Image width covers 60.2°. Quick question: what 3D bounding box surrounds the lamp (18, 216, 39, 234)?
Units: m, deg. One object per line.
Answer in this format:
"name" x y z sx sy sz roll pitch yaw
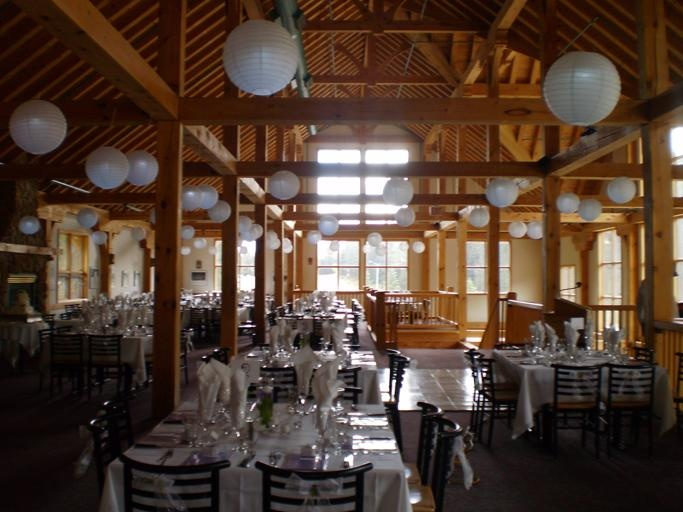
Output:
"lamp" -5.880 -0.590 11.217 0.405 0.281 0.419 -2 1 -1

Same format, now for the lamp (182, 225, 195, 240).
"lamp" -3.348 -0.557 12.941 0.224 0.260 0.469 3 -7 -18

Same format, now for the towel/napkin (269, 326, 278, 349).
"towel/napkin" -0.874 1.059 7.755 0.113 0.324 0.260 2 -7 -7

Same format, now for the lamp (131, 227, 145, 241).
"lamp" -4.631 -0.558 13.548 0.232 0.268 0.346 2 -7 -10

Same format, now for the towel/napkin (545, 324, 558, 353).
"towel/napkin" 2.822 1.111 7.967 0.140 0.378 0.451 -1 -7 17

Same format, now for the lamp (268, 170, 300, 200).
"lamp" -0.822 -0.990 8.471 0.444 0.459 0.461 -1 5 2

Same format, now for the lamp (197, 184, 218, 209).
"lamp" -1.992 -0.911 8.845 0.295 0.364 0.308 -1 4 6

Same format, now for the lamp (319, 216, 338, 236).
"lamp" -0.253 -0.645 12.517 0.383 0.262 0.381 0 -5 -30

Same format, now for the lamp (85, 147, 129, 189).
"lamp" -2.719 -1.008 6.934 0.448 0.552 0.470 -1 1 8

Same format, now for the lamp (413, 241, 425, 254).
"lamp" 2.110 -0.270 16.371 0.341 0.395 0.383 4 -1 17

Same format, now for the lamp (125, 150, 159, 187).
"lamp" -2.332 -1.058 7.146 0.377 0.468 0.393 -1 1 8

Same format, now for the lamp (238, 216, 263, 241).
"lamp" -1.751 -0.554 11.357 0.314 0.257 0.539 2 -12 -4

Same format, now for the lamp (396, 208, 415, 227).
"lamp" 1.329 -0.816 12.310 0.372 0.449 0.374 -2 4 -20

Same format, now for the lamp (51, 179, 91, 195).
"lamp" -6.052 -1.550 13.152 0.697 0.253 1.211 5 -8 -31

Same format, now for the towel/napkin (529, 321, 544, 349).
"towel/napkin" 2.676 1.078 8.104 0.158 0.380 0.500 -1 -7 17

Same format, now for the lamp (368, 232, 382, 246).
"lamp" 0.874 -0.466 15.313 0.275 0.346 0.562 -1 -7 12

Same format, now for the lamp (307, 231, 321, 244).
"lamp" -0.687 -0.492 15.001 0.290 0.220 0.300 -1 5 1

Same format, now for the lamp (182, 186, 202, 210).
"lamp" -2.157 -0.844 8.439 0.291 0.358 0.305 -1 2 4

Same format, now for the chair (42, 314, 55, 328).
"chair" -5.572 1.240 11.264 0.175 0.278 0.189 -1 -6 7

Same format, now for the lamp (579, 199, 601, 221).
"lamp" 3.875 -0.753 9.249 0.303 0.338 0.667 -2 -8 27

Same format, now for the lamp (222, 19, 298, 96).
"lamp" -0.780 -1.876 5.872 0.729 0.847 0.675 0 -2 -16

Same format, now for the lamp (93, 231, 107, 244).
"lamp" -5.543 -0.444 13.688 0.382 0.266 0.396 -2 6 2

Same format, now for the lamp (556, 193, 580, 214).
"lamp" 3.443 -0.833 8.984 0.317 0.290 0.344 -2 -7 21

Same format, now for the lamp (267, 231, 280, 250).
"lamp" -1.525 -0.395 13.189 0.245 0.368 0.482 1 -7 0

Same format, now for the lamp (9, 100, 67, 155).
"lamp" -3.144 -1.342 6.424 0.570 0.692 0.558 -1 4 -13

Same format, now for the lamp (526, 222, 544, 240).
"lamp" 3.987 -0.568 12.253 0.440 0.333 0.404 -1 -3 34

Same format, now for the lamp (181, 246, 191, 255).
"lamp" -4.049 -0.164 15.391 0.334 0.288 0.387 0 2 -11

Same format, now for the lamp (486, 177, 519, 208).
"lamp" 2.330 -0.910 8.527 0.422 0.493 0.436 0 0 -3

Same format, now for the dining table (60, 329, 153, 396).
"dining table" -3.384 1.454 8.703 1.078 1.112 0.864 0 1 7

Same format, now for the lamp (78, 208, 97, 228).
"lamp" -4.510 -0.727 10.532 0.263 0.354 0.405 3 -7 -19

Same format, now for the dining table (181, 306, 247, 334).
"dining table" -3.152 1.528 14.112 1.172 0.612 1.227 -1 -9 11

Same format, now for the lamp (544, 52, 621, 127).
"lamp" 2.425 -1.692 6.177 0.697 0.837 0.694 2 3 19

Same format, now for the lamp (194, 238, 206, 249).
"lamp" -3.795 -0.369 15.885 0.310 0.245 0.328 -1 2 8

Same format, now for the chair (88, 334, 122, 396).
"chair" -3.559 1.611 8.945 0.500 0.877 1.377 3 -7 -21

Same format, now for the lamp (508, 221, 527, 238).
"lamp" 3.671 -0.568 12.390 0.487 0.373 0.481 -1 -4 17

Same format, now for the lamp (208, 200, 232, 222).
"lamp" -1.939 -0.731 9.478 0.327 0.394 0.341 0 0 2
